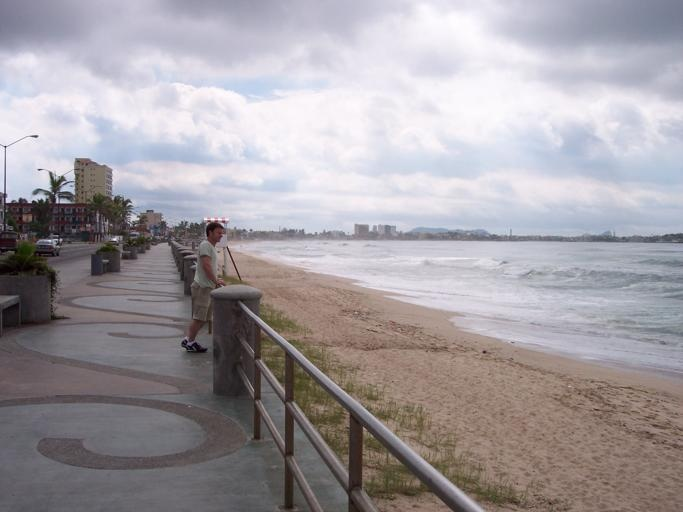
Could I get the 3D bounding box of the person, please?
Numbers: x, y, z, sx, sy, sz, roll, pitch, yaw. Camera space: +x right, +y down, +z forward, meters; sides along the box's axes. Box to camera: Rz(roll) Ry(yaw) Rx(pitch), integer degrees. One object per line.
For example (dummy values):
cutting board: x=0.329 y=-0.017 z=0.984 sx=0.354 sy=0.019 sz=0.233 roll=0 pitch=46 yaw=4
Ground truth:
person: x=-2.410 y=0.576 z=9.284 sx=0.552 sy=2.356 sz=1.274 roll=1 pitch=4 yaw=-22

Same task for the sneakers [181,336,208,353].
sneakers: x=-2.684 y=1.615 z=9.783 sx=0.548 sy=0.253 sz=0.200 roll=10 pitch=5 yaw=-11
